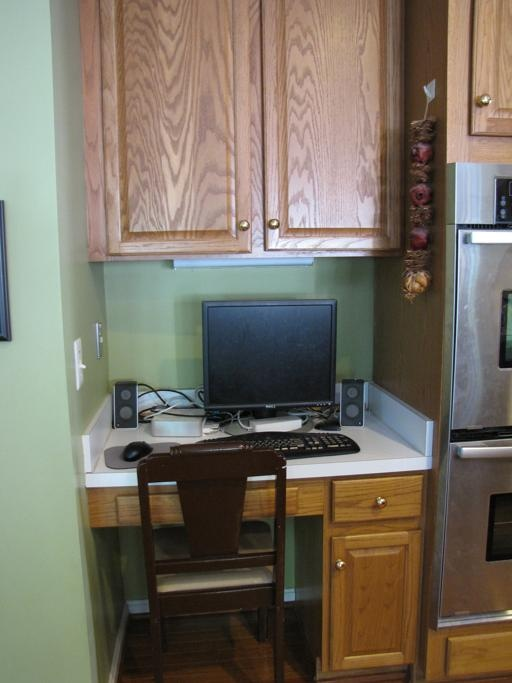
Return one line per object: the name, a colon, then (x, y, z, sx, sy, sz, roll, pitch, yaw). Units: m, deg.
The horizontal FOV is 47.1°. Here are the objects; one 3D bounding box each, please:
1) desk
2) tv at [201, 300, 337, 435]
desk: (0.026, 0.551, 1.910, 1.142, 1.045, 0.697, -2, 4, -5)
tv: (0.037, 0.075, 1.980, 0.360, 0.404, 0.093, -1, 6, -5)
